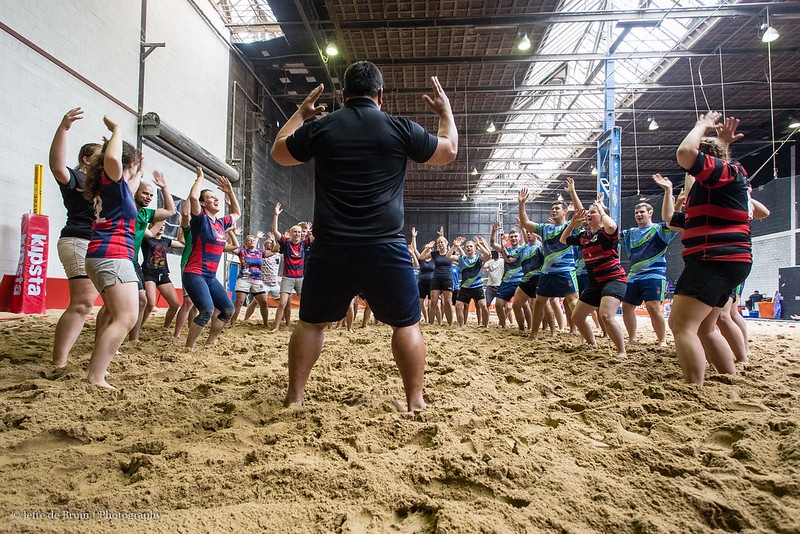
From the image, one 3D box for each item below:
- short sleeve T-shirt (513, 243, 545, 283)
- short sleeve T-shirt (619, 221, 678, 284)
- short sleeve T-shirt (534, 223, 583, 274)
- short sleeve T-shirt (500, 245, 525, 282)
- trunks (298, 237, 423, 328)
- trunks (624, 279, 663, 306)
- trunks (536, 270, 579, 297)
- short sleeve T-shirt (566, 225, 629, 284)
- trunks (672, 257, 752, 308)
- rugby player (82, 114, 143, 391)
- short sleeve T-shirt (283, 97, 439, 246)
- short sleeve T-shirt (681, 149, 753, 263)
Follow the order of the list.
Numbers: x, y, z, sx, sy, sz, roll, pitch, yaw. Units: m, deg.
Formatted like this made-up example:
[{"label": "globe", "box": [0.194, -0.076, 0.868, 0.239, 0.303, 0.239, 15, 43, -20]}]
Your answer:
[{"label": "short sleeve T-shirt", "box": [2.110, -0.052, 9.224, 0.669, 0.633, 0.306, -2, 0, 24]}, {"label": "short sleeve T-shirt", "box": [3.434, -0.167, 7.940, 0.342, 0.881, 1.245, 4, -8, -29]}, {"label": "short sleeve T-shirt", "box": [2.333, -0.271, 8.492, 0.692, 0.806, 0.432, -2, -23, 8]}, {"label": "short sleeve T-shirt", "box": [2.052, -0.055, 10.146, 0.247, 0.631, 0.372, 2, -41, 10]}, {"label": "trunks", "box": [-0.377, 0.148, 5.359, 1.213, 0.811, 0.467, 0, 9, 5]}, {"label": "trunks", "box": [3.318, 0.354, 7.745, 0.618, 0.378, 0.310, 1, -5, 4]}, {"label": "trunks", "box": [2.306, 0.282, 8.361, 0.641, 0.369, 0.540, 0, 9, 10]}, {"label": "short sleeve T-shirt", "box": [2.599, -0.132, 7.493, 0.453, 0.766, 0.749, 5, -17, -40]}, {"label": "trunks", "box": [3.131, 0.180, 5.701, 0.699, 0.529, 0.489, 11, -31, 40]}, {"label": "rugby player", "box": [-2.921, -0.127, 5.766, 0.500, 2.674, 0.373, 5, -6, -35]}, {"label": "short sleeve T-shirt", "box": [-0.397, -0.915, 5.522, 1.614, 1.362, 0.834, 1, 12, -3]}, {"label": "short sleeve T-shirt", "box": [3.180, -0.580, 5.741, 0.441, 0.803, 1.166, -1, -15, 26]}]
